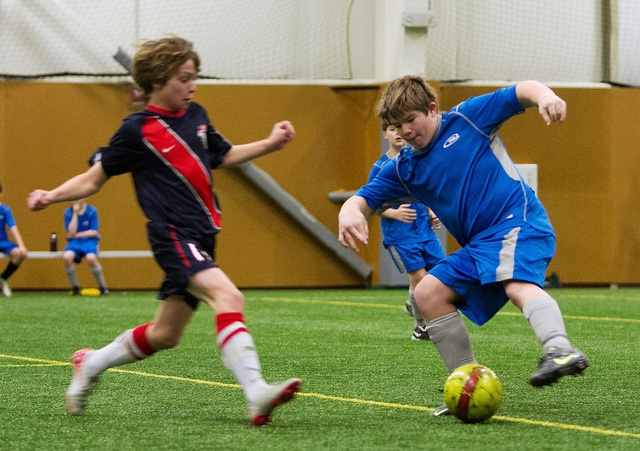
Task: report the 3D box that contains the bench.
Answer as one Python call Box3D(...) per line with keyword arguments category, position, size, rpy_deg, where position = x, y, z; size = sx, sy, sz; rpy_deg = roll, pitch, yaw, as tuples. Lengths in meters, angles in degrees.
Box3D(category="bench", position=(-3.032, 0.691, 13.245), size=(4.084, 0.639, 0.151), rpy_deg=(1, -4, 0))

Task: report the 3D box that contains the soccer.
Box3D(category="soccer", position=(0.921, 0.996, 5.503), size=(0.306, 0.320, 0.318), rpy_deg=(15, 39, 25))

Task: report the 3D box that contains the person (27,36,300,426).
Box3D(category="person", position=(-0.885, 0.002, 5.695), size=(1.504, 2.376, 0.682), rpy_deg=(-1, 3, 12))

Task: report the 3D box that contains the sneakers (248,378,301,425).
Box3D(category="sneakers", position=(-0.279, 1.060, 5.429), size=(0.134, 0.277, 0.093), rpy_deg=(46, 2, 37))

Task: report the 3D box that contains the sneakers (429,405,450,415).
Box3D(category="sneakers", position=(0.755, 1.144, 5.643), size=(0.141, 0.054, 0.068), rpy_deg=(-8, 37, 15))
